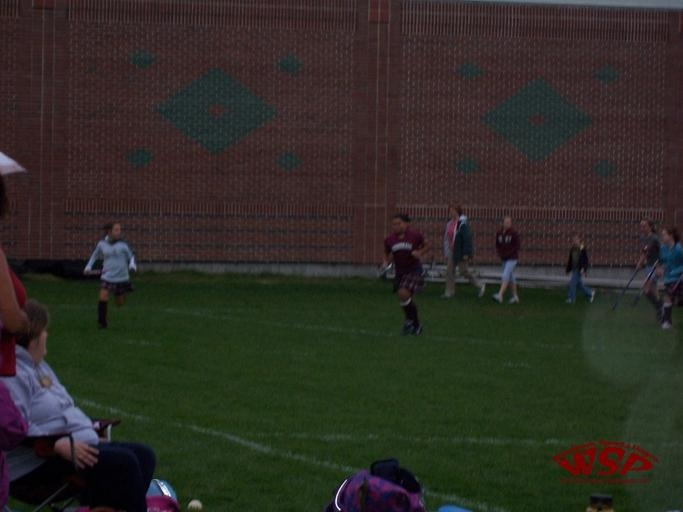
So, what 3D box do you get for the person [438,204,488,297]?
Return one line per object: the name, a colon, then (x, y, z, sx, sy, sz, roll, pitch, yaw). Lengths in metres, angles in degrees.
person: (3.053, -0.127, 32.387, 0.915, 2.504, 1.157, 1, 11, 4)
